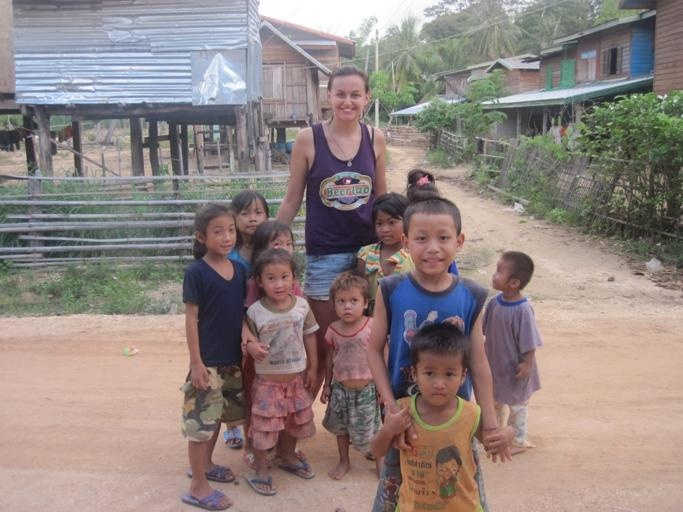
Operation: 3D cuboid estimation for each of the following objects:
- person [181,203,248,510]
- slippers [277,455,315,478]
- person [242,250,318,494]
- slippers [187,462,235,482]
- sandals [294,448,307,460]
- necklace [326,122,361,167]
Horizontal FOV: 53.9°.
[{"bbox_3d":[-1.068,0.778,5.537,0.494,2.391,0.753,1,11,7],"label":"person"},{"bbox_3d":[-0.377,1.801,5.802,0.269,0.083,0.145,10,21,31],"label":"slippers"},{"bbox_3d":[-0.505,0.931,5.622,0.661,1.982,0.500,-3,11,-13],"label":"person"},{"bbox_3d":[-1.107,1.805,5.745,0.338,0.103,0.157,0,7,22],"label":"slippers"},{"bbox_3d":[-0.366,1.743,5.933,0.064,0.038,0.103,6,20,-34],"label":"sandals"},{"bbox_3d":[0.014,-0.927,5.604,0.243,0.344,0.126,-3,8,-4],"label":"necklace"}]
